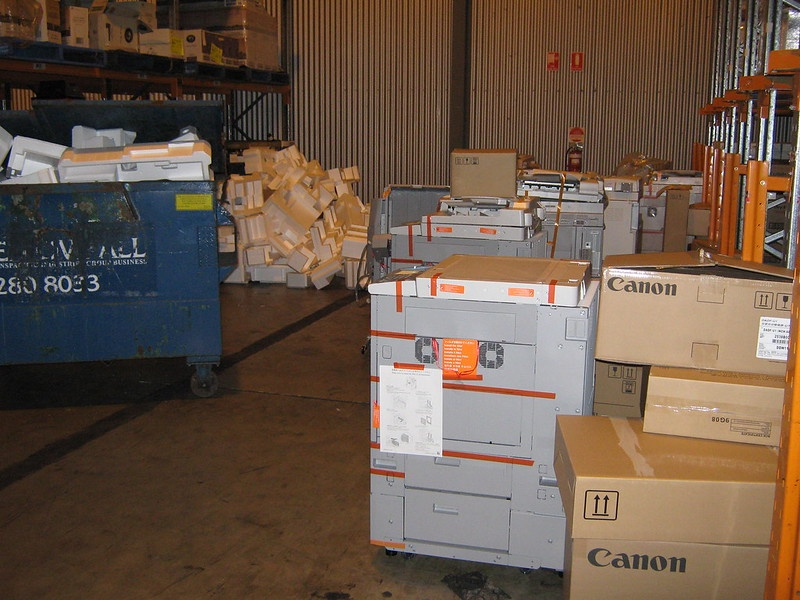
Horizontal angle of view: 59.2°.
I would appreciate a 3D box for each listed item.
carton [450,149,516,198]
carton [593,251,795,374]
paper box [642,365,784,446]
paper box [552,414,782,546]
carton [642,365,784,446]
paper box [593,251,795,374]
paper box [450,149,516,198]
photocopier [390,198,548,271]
[{"bbox_3d":[0.824,-1.200,6.966,0.772,0.588,0.440,1,3,13],"label":"carton"},{"bbox_3d":[1.546,0.072,3.689,0.895,0.513,0.629,3,11,18],"label":"carton"},{"bbox_3d":[1.641,0.569,3.652,0.722,0.364,0.344,5,2,12],"label":"paper box"},{"bbox_3d":[1.372,0.933,3.635,1.081,0.439,0.522,2,13,3],"label":"paper box"},{"bbox_3d":[1.629,0.559,3.652,0.722,0.364,0.344,5,2,12],"label":"carton"},{"bbox_3d":[1.543,0.080,3.695,0.895,0.513,0.629,3,11,18],"label":"paper box"},{"bbox_3d":[0.823,-1.190,6.962,0.772,0.588,0.440,1,3,13],"label":"paper box"},{"bbox_3d":[0.635,-0.629,6.564,0.972,0.604,0.957,3,7,14],"label":"photocopier"}]
